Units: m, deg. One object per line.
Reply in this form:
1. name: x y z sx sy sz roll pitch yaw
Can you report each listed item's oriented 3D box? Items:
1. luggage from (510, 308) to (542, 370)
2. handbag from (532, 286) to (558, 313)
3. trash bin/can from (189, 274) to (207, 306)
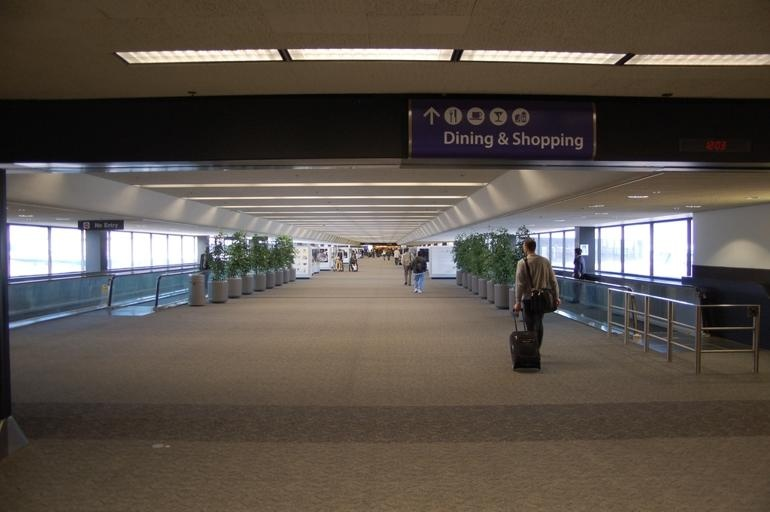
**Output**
1. luggage: 2.773 1.841 9.798 0.591 0.721 0.806 2 8 16
2. handbag: 3.269 0.906 10.094 0.497 0.510 0.273 -2 9 -16
3. trash bin/can: -7.070 1.276 18.565 0.575 1.152 0.663 -4 9 -24
